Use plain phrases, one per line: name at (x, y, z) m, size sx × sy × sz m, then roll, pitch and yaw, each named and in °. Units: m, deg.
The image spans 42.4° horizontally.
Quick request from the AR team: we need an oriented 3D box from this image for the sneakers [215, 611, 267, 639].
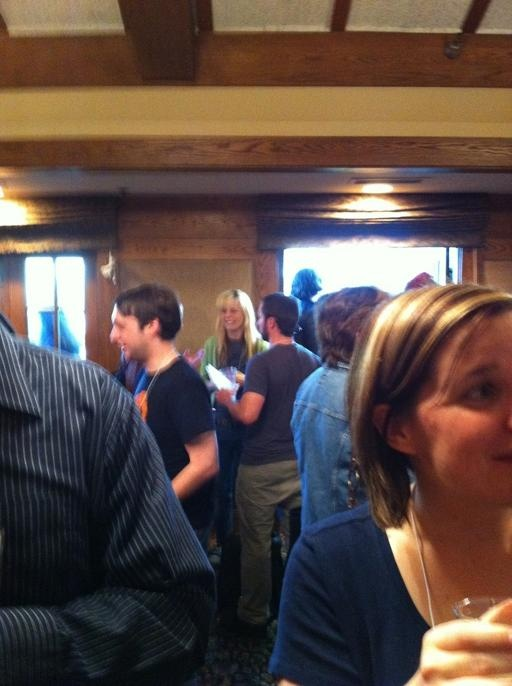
sneakers at (-0.058, 1.140, 2.679) m, size 0.165 × 0.094 × 0.110 m, roll -3°, pitch -17°, yaw 21°
